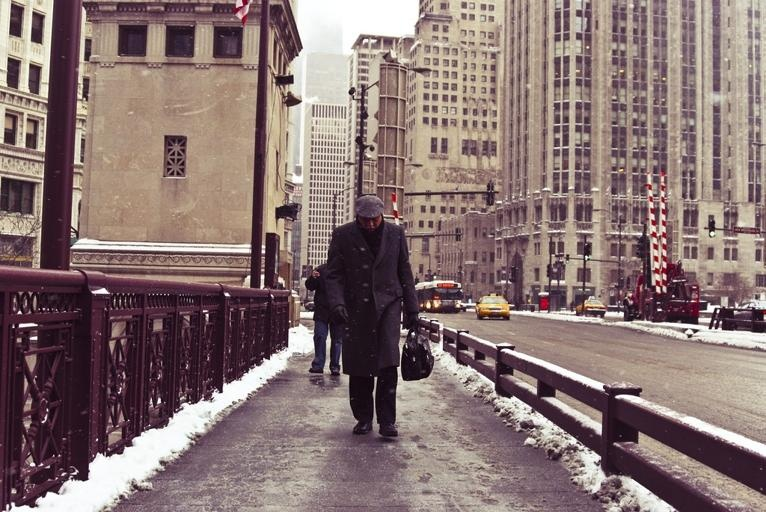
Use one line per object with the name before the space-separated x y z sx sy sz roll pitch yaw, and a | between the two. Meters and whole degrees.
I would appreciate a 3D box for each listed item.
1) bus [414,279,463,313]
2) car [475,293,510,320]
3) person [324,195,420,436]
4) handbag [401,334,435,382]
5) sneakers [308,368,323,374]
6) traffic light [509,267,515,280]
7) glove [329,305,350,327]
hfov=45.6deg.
bus | 4.398 3.088 71.780 2.219 2.538 8.404 0 -3 -7
car | 6.412 3.071 53.122 1.720 1.062 1.836 4 6 4
person | -0.192 0.927 14.543 1.425 3.770 0.734 3 5 3
handbag | 0.543 1.606 14.589 0.484 0.828 0.296 3 5 1
sneakers | -1.443 2.470 19.616 0.293 0.234 0.106 -1 3 -6
traffic light | 12.304 1.745 86.302 0.474 1.209 2.071 3 6 7
glove | -0.680 0.916 14.303 0.208 0.301 0.302 -1 -4 -15
